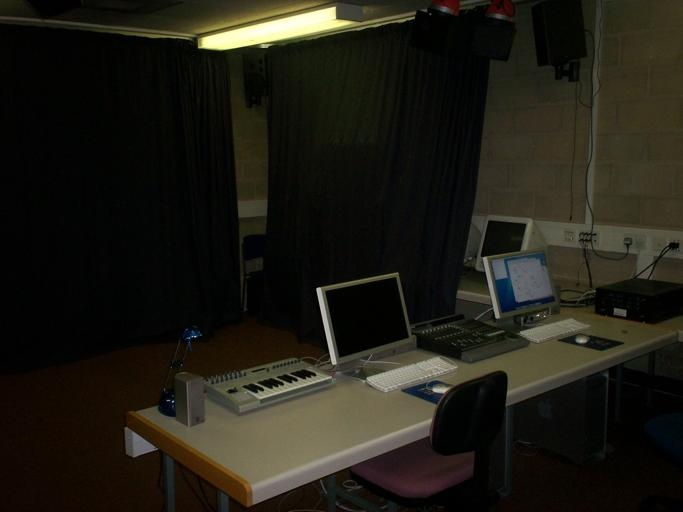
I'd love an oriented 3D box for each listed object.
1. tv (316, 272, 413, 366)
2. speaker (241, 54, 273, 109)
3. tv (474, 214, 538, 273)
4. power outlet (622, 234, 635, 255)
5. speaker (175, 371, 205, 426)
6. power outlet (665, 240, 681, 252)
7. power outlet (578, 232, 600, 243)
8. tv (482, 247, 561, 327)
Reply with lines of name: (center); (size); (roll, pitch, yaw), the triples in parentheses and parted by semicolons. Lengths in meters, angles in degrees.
tv: (0.140, 0.330, 2.882); (0.541, 0.406, 0.048); (-9, -5, -35)
speaker: (-0.962, -1.964, 5.927); (0.274, 0.590, 0.233); (-5, 16, -10)
tv: (1.387, -0.032, 4.594); (0.679, 0.390, 0.681); (-16, -3, 19)
power outlet: (2.253, -0.085, 4.183); (0.064, 0.118, 0.114); (9, 31, 34)
speaker: (-0.694, 0.644, 2.423); (0.140, 0.220, 0.143); (-3, 16, -4)
power outlet: (2.483, -0.071, 3.970); (0.105, 0.075, 0.060); (4, 10, 23)
power outlet: (2.031, -0.152, 4.379); (0.151, 0.096, 0.023); (10, 20, 35)
tv: (1.182, 0.178, 3.483); (0.559, 0.413, 0.066); (-7, -5, -29)
